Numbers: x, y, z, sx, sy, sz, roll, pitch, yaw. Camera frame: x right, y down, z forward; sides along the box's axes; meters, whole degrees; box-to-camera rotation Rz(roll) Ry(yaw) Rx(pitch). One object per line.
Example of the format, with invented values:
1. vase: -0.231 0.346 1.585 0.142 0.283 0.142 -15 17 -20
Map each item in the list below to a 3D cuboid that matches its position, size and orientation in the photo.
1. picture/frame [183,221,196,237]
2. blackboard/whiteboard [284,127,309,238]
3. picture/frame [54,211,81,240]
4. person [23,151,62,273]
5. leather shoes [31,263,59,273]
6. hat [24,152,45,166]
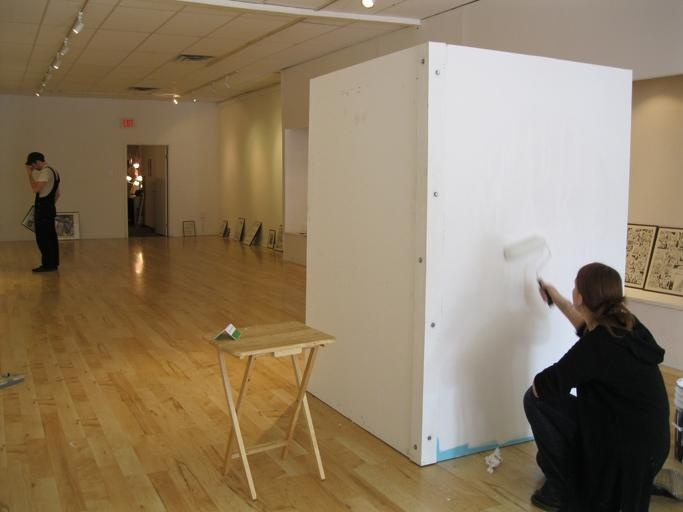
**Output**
1. picture/frame: -4.985 -0.892 16.157 0.468 0.631 0.047 1 -3 -38
2. blackboard/whiteboard: -1.096 -1.776 11.696 0.524 2.368 0.364 -1 8 -13
3. picture/frame: -7.881 -0.887 14.219 0.897 1.015 0.095 -1 7 -26
4. person: -5.755 -0.835 9.627 0.529 2.303 0.773 -5 10 -32
5. leather shoes: -5.829 0.224 9.780 0.473 0.212 0.191 2 1 -29
6. hat: -5.840 -1.860 9.477 0.287 0.252 0.677 -4 11 -31
